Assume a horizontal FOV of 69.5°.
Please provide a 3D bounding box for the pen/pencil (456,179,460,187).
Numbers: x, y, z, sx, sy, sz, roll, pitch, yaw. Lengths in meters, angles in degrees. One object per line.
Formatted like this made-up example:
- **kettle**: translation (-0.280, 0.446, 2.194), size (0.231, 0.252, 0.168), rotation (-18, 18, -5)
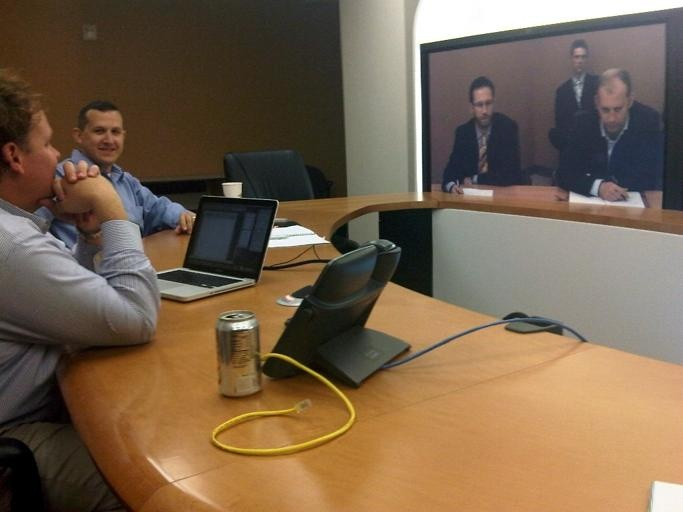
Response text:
- **pen/pencil**: translation (0.846, -0.524, 3.562), size (0.014, 0.016, 0.045), rotation (9, 46, -3)
